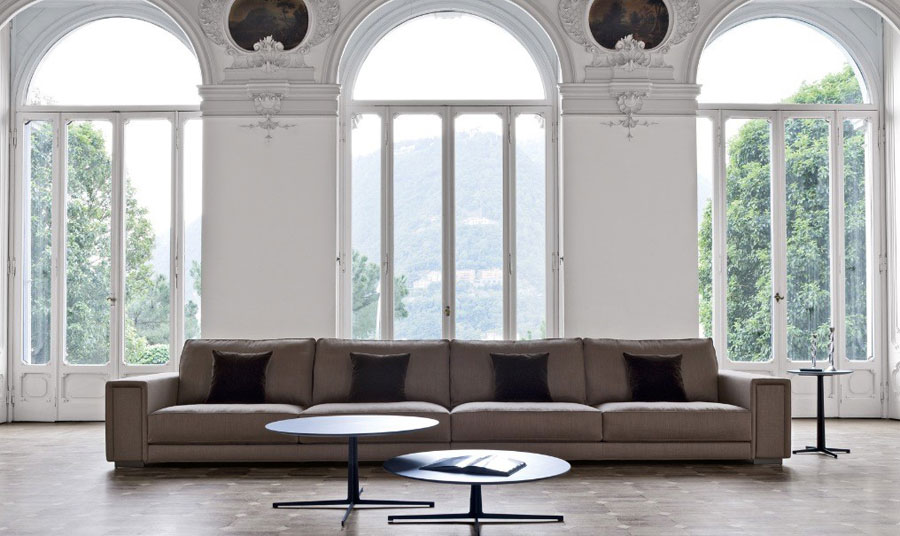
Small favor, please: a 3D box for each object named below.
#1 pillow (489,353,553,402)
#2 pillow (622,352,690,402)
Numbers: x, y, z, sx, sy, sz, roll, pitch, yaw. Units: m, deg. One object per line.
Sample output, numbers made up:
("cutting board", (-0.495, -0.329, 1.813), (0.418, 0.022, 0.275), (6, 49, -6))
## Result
("pillow", (0.869, 1.296, 13.000), (0.777, 0.598, 0.274), (-1, 2, 7))
("pillow", (2.438, 1.278, 12.909), (0.852, 0.580, 0.499), (0, -3, -2))
